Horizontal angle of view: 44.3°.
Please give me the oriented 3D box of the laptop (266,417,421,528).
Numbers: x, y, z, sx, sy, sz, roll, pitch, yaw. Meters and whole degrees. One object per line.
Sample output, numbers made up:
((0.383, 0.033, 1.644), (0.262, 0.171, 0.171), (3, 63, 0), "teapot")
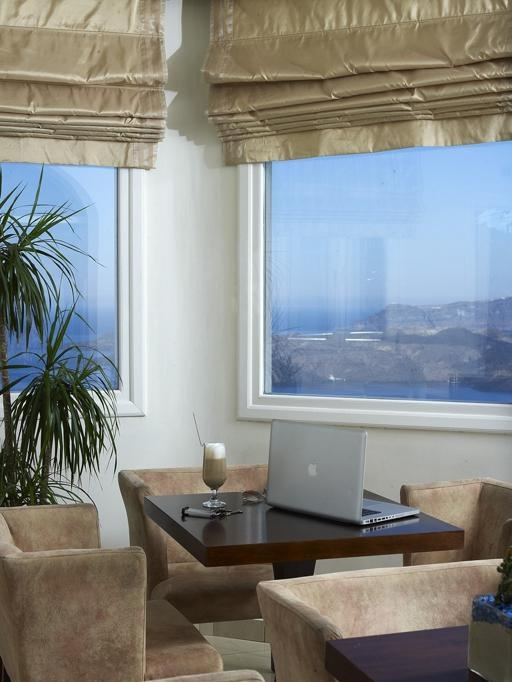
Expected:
((0.219, 0.342, 1.707), (0.330, 0.238, 0.266), (-1, -1, 41), "laptop")
